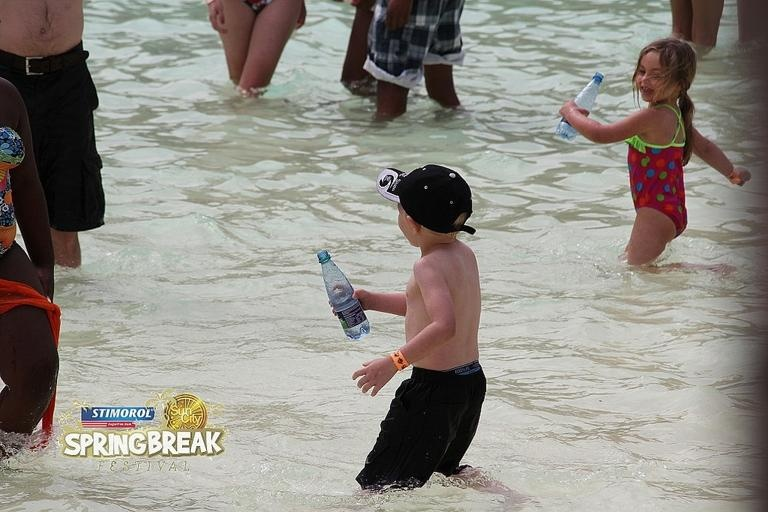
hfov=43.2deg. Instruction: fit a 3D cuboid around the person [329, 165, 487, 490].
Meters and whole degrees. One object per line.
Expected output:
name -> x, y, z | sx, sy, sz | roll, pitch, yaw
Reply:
person -> 0.181, 0.346, 4.589 | 0.648, 1.492, 0.746 | 5, 25, -20
